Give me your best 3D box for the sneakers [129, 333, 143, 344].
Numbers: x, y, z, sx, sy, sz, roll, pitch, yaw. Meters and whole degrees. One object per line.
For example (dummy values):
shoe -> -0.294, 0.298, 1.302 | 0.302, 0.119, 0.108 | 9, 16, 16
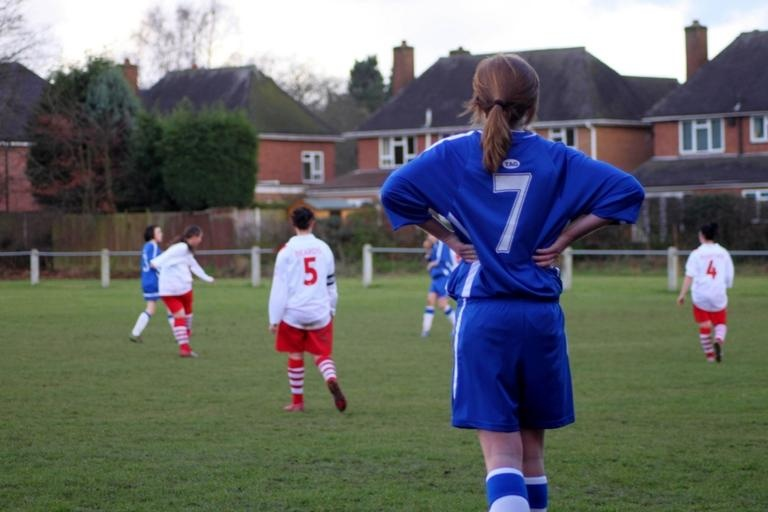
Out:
sneakers -> -5.397, 1.770, 26.323 | 0.118, 0.125, 0.304 | 24, 5, 35

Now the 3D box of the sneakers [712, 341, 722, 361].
sneakers -> 6.688, 1.880, 24.471 | 0.181, 0.411, 0.266 | 4, 14, 15

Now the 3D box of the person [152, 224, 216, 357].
person -> -4.242, 0.706, 25.344 | 1.091, 2.528, 1.314 | 0, 14, 1

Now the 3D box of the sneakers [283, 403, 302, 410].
sneakers -> -1.641, 2.674, 21.829 | 0.259, 0.105, 0.141 | 1, -2, 16

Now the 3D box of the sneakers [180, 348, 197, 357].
sneakers -> -4.056, 1.948, 25.081 | 0.342, 0.217, 0.176 | 0, 3, -15
